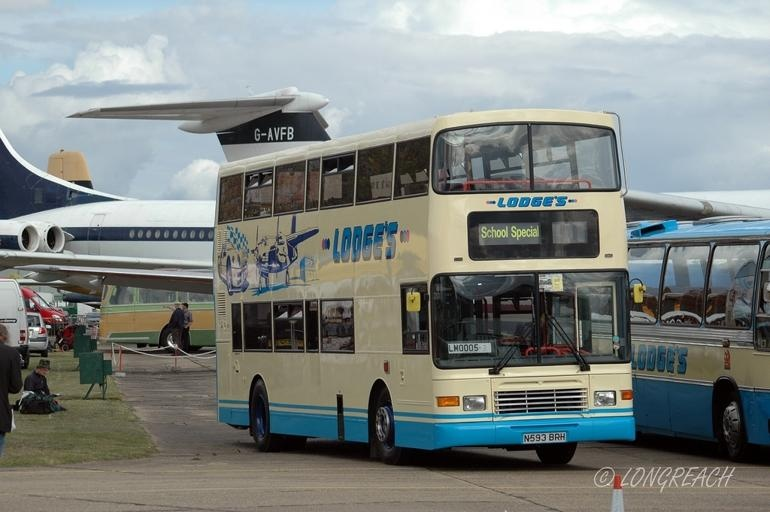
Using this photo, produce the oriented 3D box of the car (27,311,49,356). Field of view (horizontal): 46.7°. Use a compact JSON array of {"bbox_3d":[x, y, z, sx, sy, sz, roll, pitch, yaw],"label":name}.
[{"bbox_3d":[-17.069,3.898,43.692,0.920,2.271,2.981,-9,3,-23],"label":"car"}]
